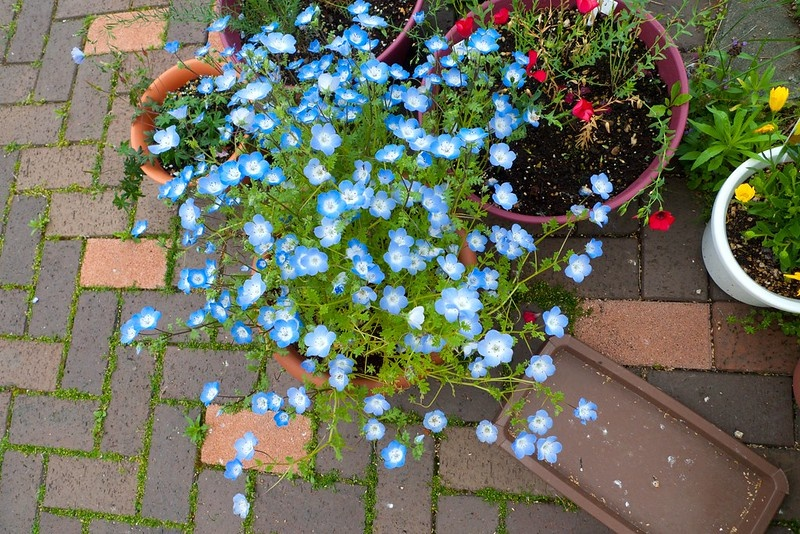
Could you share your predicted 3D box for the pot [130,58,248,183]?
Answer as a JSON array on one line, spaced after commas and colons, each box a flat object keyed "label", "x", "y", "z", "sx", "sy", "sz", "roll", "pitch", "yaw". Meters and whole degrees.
[{"label": "pot", "x": -1.262, "y": -0.759, "z": 3.743, "sx": 0.619, "sy": 0.234, "sz": 0.712, "roll": -2, "pitch": 91, "yaw": 4}]

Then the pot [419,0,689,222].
[{"label": "pot", "x": 0.886, "y": -0.791, "z": 3.225, "sx": 1.049, "sy": 0.589, "sz": 1.174, "roll": -10, "pitch": 81, "yaw": 5}]
